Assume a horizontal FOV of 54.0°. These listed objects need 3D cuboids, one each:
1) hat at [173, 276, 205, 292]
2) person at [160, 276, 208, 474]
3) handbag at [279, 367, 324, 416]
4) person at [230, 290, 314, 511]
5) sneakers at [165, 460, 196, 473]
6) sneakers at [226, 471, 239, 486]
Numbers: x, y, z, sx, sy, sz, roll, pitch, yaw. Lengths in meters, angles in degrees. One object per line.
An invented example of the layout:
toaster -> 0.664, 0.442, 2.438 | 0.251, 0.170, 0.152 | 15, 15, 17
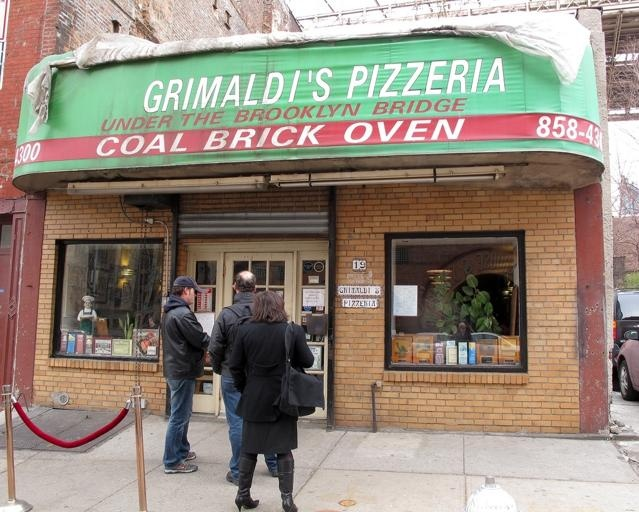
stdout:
hat -> -1.573, 0.334, 7.752 | 0.430, 0.214, 0.259 | 1, -5, -26
person -> -1.619, 1.399, 7.523 | 0.561, 2.291, 0.514 | -2, 3, -14
handbag -> -0.200, 1.381, 6.416 | 0.252, 0.524, 0.567 | -9, -23, 35
person -> -0.506, 1.487, 6.411 | 0.821, 2.233, 0.442 | -1, 3, 0
sneakers -> -1.669, 2.507, 7.481 | 0.382, 0.157, 0.137 | -1, -3, -11
sneakers -> -0.996, 2.523, 7.119 | 0.093, 0.104, 0.250 | 2, 6, -36
